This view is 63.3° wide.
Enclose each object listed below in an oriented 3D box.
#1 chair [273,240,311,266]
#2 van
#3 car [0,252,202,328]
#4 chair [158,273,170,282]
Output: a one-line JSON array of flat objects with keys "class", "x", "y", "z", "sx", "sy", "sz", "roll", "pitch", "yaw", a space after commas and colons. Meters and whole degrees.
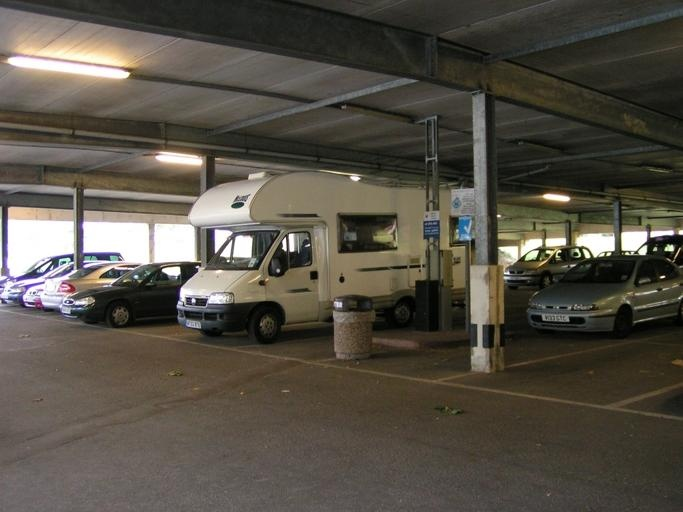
[{"class": "chair", "x": -1.086, "y": -0.054, "z": 12.718, "sx": 0.734, "sy": 0.374, "sz": 0.657, "roll": 0, "pitch": -1, "yaw": -16}, {"class": "van", "x": -0.852, "y": -0.052, "z": 13.439, "sx": 5.591, "sy": 3.846, "sz": 1.578, "roll": -3, "pitch": 4, "yaw": -29}, {"class": "car", "x": -6.220, "y": 1.045, "z": 16.150, "sx": 4.523, "sy": 1.247, "sz": 2.038, "roll": 2, "pitch": -3, "yaw": -36}, {"class": "chair", "x": -5.181, "y": 0.624, "z": 16.222, "sx": 0.315, "sy": 0.255, "sz": 0.201, "roll": 11, "pitch": -6, "yaw": -40}]
